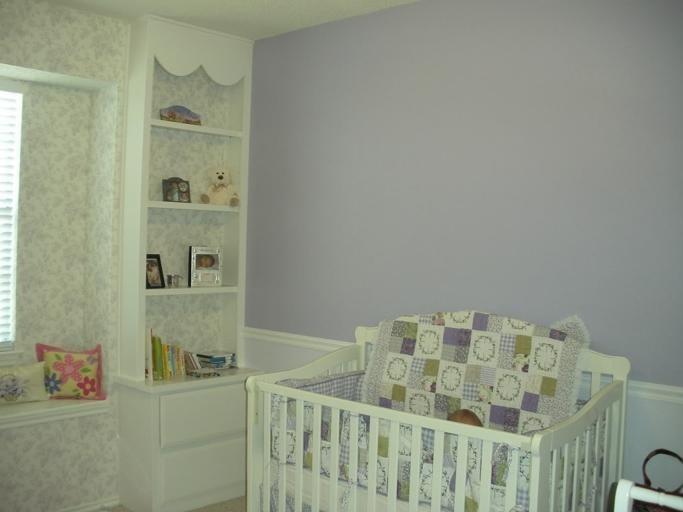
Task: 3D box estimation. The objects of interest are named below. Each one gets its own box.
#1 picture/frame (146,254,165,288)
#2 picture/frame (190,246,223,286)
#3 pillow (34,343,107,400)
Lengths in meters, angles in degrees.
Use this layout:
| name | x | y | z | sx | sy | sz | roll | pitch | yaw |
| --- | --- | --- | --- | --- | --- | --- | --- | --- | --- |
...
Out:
| name | x | y | z | sx | sy | sz | roll | pitch | yaw |
| --- | --- | --- | --- | --- | --- | --- | --- | --- | --- |
| picture/frame | -1.195 | 0.101 | 3.635 | 0.015 | 0.193 | 0.209 | -6 | 0 | 16 |
| picture/frame | -0.928 | 0.073 | 3.860 | 0.064 | 0.287 | 0.239 | -6 | -10 | 44 |
| pillow | -1.688 | 0.725 | 3.519 | 0.321 | 0.311 | 0.127 | 2 | -10 | -22 |
